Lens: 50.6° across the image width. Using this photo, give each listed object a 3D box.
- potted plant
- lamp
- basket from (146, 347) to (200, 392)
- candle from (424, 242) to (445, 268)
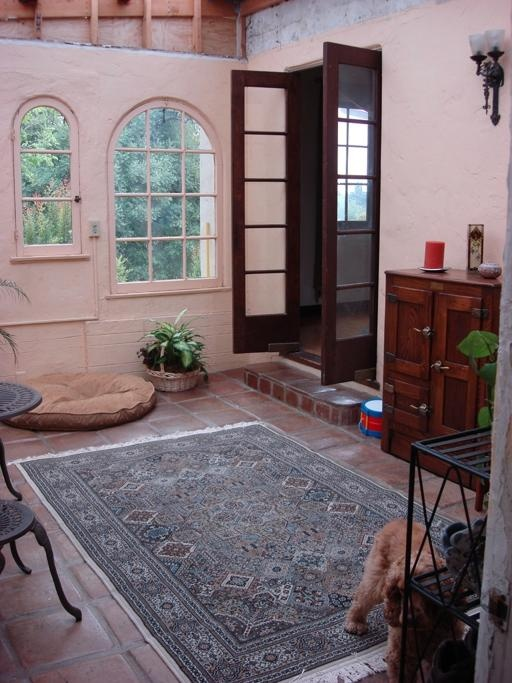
[{"bbox_3d":[-0.769,0.014,4.934,0.701,0.730,0.714,-3,11,-24],"label":"potted plant"},{"bbox_3d":[1.251,-1.424,2.959,0.185,0.456,0.314,4,8,23],"label":"lamp"},{"bbox_3d":[-0.702,0.315,4.824,0.512,0.235,0.362,-3,8,-21],"label":"basket"},{"bbox_3d":[1.043,-0.499,3.152,0.134,0.160,0.105,-1,8,-7],"label":"candle"}]
